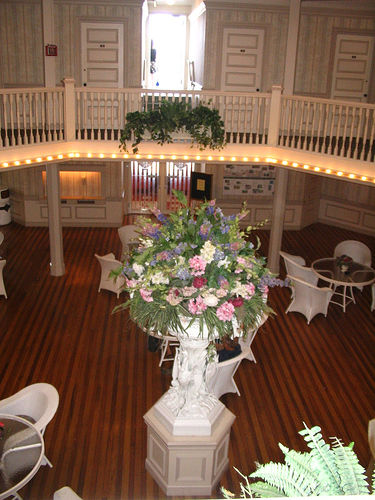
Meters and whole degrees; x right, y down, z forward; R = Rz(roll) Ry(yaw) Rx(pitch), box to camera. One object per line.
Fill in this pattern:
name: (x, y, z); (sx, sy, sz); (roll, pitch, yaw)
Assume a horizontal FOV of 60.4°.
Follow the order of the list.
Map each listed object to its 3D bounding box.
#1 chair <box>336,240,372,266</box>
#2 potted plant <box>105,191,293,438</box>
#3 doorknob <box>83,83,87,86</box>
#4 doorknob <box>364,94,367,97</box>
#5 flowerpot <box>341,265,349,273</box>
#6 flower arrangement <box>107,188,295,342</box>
chair: (4.488, -0.025, 8.867); (0.702, 0.752, 0.927); (7, -15, 14)
potted plant: (0.048, 0.805, 3.049); (1.290, 2.555, 0.804); (6, 17, 13)
doorknob: (-3.185, -5.116, 9.922); (0.125, 0.090, 0.076); (14, 21, 33)
doorknob: (5.728, -4.957, 10.286); (0.090, 0.073, 0.020); (-2, 17, -14)
flowerpot: (3.772, 0.431, 7.683); (0.138, 0.133, 0.054); (15, 20, 2)
flower arrangement: (-0.013, -0.140, 3.016); (1.318, 0.852, 1.154); (-4, 10, -23)
